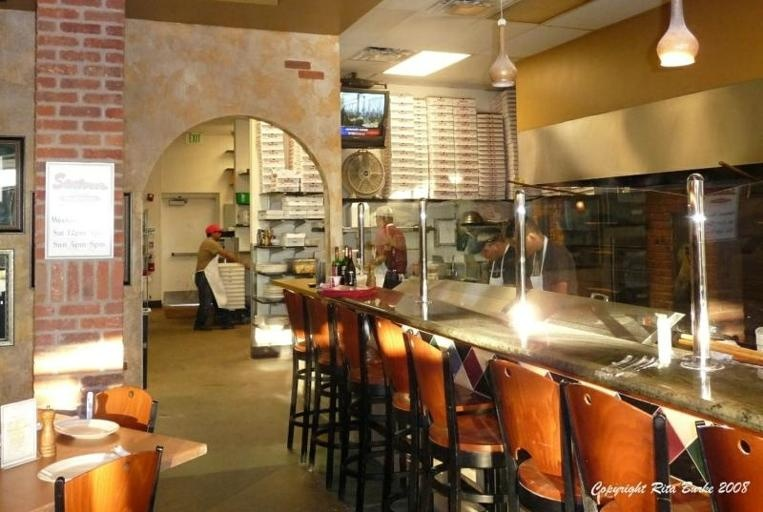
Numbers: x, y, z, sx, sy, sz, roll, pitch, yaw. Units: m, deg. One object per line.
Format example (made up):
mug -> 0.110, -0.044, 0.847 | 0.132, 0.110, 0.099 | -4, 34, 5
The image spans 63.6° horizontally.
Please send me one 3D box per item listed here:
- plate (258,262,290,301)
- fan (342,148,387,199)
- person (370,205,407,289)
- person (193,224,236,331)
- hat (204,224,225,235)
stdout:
plate -> -1.561, 0.356, 8.632 | 0.469, 0.496, 0.314 | 2, 5, 13
fan -> -0.240, -1.179, 8.847 | 0.623, 0.664, 0.309 | 0, 5, -10
person -> 0.103, -0.071, 6.565 | 0.356, 0.774, 0.494 | 1, 5, 0
person -> -2.973, 0.367, 10.904 | 0.624, 1.818, 1.282 | 0, 5, -15
hat -> -2.825, -0.453, 10.646 | 0.435, 0.216, 0.308 | -3, 7, -23
